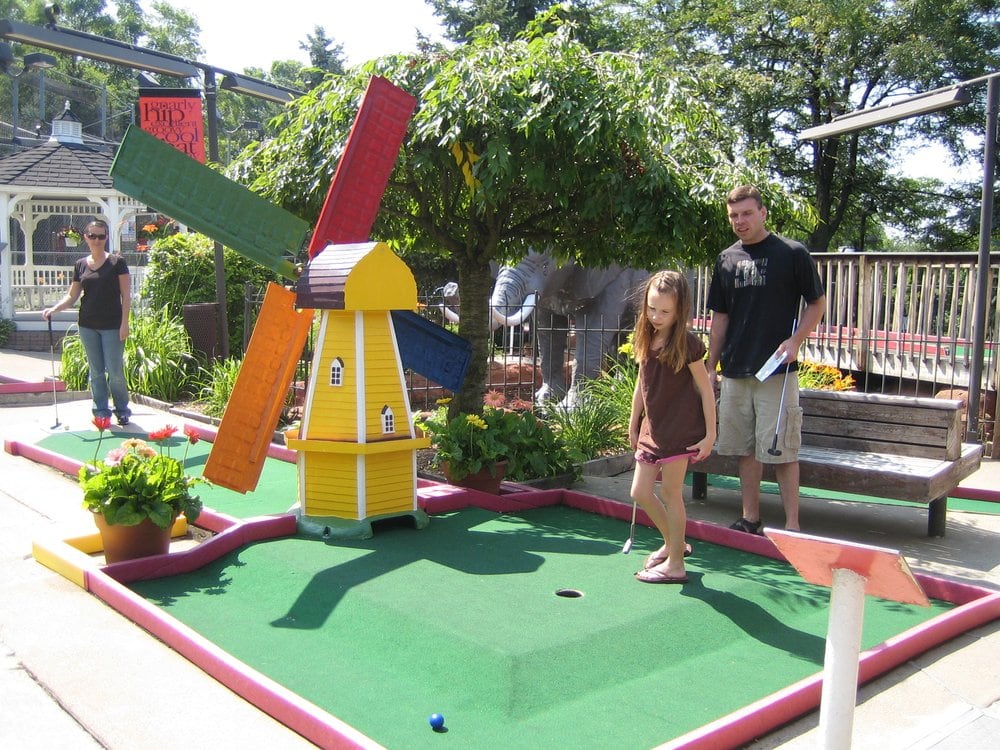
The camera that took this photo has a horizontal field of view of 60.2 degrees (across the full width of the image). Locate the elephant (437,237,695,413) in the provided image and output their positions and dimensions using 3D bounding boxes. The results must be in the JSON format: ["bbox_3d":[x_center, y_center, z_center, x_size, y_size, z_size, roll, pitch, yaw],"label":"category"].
[{"bbox_3d":[0.988,-0.733,13.268,2.850,2.087,2.164,-1,3,-32],"label":"elephant"}]

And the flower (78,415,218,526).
[{"bbox_3d":[-2.324,0.606,5.719,0.609,0.624,0.554,12,11,-42],"label":"flower"}]

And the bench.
[{"bbox_3d":[2.950,0.637,7.023,2.258,1.158,1.447,7,7,36],"label":"bench"}]

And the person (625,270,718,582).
[{"bbox_3d":[1.095,0.325,5.493,0.529,1.961,0.381,4,5,12],"label":"person"}]

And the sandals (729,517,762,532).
[{"bbox_3d":[1.836,1.116,6.423,0.219,0.099,0.101,3,3,30],"label":"sandals"}]

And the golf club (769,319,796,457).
[{"bbox_3d":[2.029,0.248,6.215,0.077,0.651,0.119,7,6,39],"label":"golf club"}]

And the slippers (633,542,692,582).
[{"bbox_3d":[1.038,1.190,5.478,0.255,0.084,0.192,-2,3,-14],"label":"slippers"}]

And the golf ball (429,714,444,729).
[{"bbox_3d":[-0.286,1.606,4.016,0.069,0.062,0.067,4,4,0],"label":"golf ball"}]

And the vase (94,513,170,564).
[{"bbox_3d":[-2.366,1.062,5.575,0.439,0.338,0.253,1,5,-28],"label":"vase"}]

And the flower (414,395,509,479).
[{"bbox_3d":[-0.209,0.541,7.638,0.616,0.690,0.666,-5,11,-40],"label":"flower"}]

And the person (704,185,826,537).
[{"bbox_3d":[1.876,-0.078,6.335,0.755,2.555,0.697,0,2,42],"label":"person"}]

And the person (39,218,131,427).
[{"bbox_3d":[-4.378,-0.560,9.574,0.899,2.274,0.712,6,5,36],"label":"person"}]
